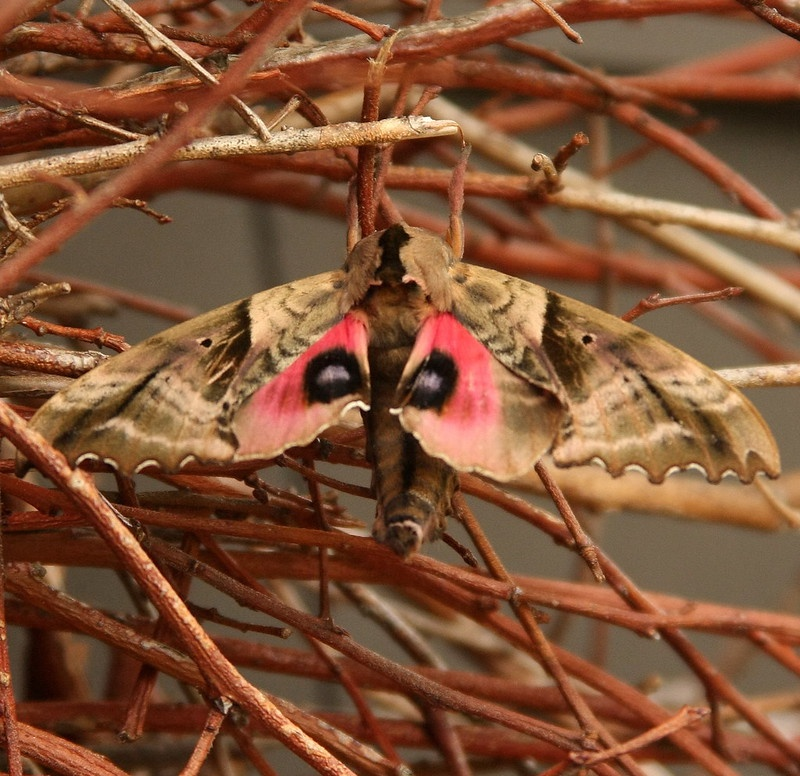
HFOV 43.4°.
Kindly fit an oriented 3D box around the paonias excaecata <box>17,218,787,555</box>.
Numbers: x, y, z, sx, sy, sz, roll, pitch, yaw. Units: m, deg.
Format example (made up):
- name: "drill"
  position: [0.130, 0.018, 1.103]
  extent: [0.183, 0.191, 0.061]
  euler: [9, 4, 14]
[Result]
- name: "paonias excaecata"
  position: [0.007, -0.003, 0.330]
  extent: [0.242, 0.121, 0.062]
  euler: [2, -52, -2]
